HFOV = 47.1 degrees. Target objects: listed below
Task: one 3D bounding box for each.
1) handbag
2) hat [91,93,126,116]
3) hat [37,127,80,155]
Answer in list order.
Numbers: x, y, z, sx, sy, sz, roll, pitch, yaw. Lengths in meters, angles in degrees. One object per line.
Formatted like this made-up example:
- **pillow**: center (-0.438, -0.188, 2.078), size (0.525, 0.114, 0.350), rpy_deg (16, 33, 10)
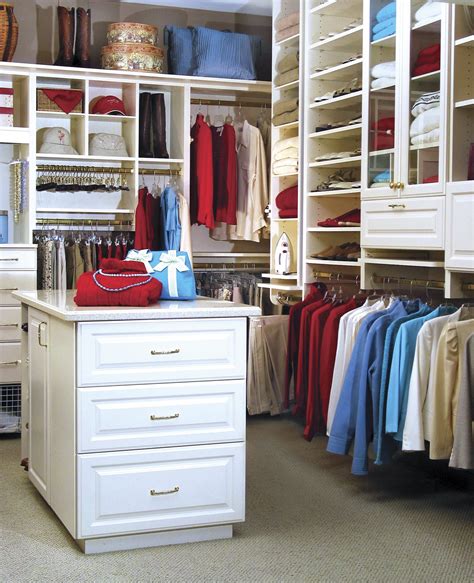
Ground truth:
- **handbag**: center (-0.287, -0.083, 2.305), size (0.236, 0.214, 0.204), rpy_deg (1, -1, 15)
- **hat**: center (-1.021, -1.461, 4.268), size (0.178, 0.118, 0.267), rpy_deg (-5, 18, -23)
- **hat**: center (-1.381, -1.102, 4.141), size (0.201, 0.233, 0.316), rpy_deg (-2, 2, -37)
